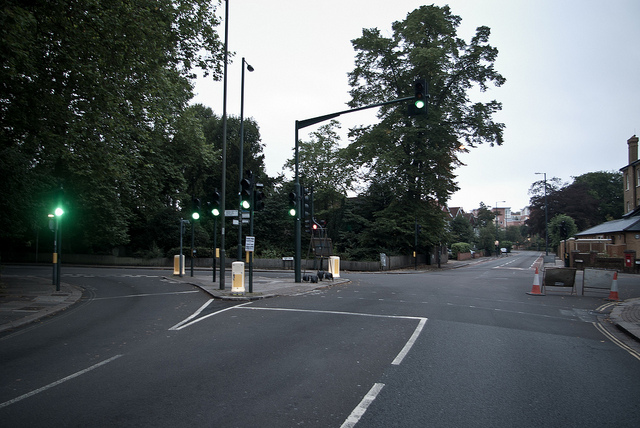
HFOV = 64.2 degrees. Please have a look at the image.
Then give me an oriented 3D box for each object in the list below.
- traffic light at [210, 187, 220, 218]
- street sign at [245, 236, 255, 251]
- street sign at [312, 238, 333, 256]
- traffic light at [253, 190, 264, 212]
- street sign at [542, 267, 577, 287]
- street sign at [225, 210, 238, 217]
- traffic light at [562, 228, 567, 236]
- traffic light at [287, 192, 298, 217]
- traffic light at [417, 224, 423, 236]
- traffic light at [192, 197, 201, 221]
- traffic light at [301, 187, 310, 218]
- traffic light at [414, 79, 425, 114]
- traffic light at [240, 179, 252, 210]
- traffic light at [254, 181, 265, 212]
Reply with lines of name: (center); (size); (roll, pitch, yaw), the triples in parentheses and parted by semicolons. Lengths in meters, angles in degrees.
traffic light: (-4.874, -0.409, 23.764); (0.360, 1.217, 0.835); (-1, 6, -12)
street sign: (-2.949, 1.251, 21.392); (0.361, 0.647, 0.496); (-1, 6, -12)
street sign: (0.092, 1.874, 28.721); (1.179, 0.835, 0.707); (5, -14, -26)
traffic light: (-2.573, -0.600, 21.175); (0.397, 0.790, 0.428); (-2, 6, -15)
street sign: (10.911, 2.908, 23.262); (1.063, 0.780, 0.401); (0, 8, 13)
street sign: (-4.074, -0.037, 23.381); (0.570, 0.274, 0.496); (-3, 5, -30)
traffic light: (22.489, 1.662, 46.908); (0.389, 0.397, 0.676); (3, 32, -6)
traffic light: (-1.273, -0.455, 23.675); (0.357, 1.144, 0.774); (1, 6, 11)
traffic light: (8.613, 1.373, 43.927); (0.419, 1.174, 1.481); (1, 5, 12)
traffic light: (-6.568, -0.213, 26.917); (0.377, 1.201, 0.973); (-1, 6, -12)
traffic light: (-0.760, -0.500, 24.892); (0.277, 1.346, 0.754); (4, 7, 29)
traffic light: (3.496, -4.128, 17.898); (0.358, 1.150, 0.277); (1, 7, 9)
traffic light: (-3.094, -0.815, 21.308); (0.380, 1.270, 0.390); (-2, 7, -20)
traffic light: (-2.575, -0.778, 21.300); (0.369, 1.126, 0.700); (-1, 6, -11)
